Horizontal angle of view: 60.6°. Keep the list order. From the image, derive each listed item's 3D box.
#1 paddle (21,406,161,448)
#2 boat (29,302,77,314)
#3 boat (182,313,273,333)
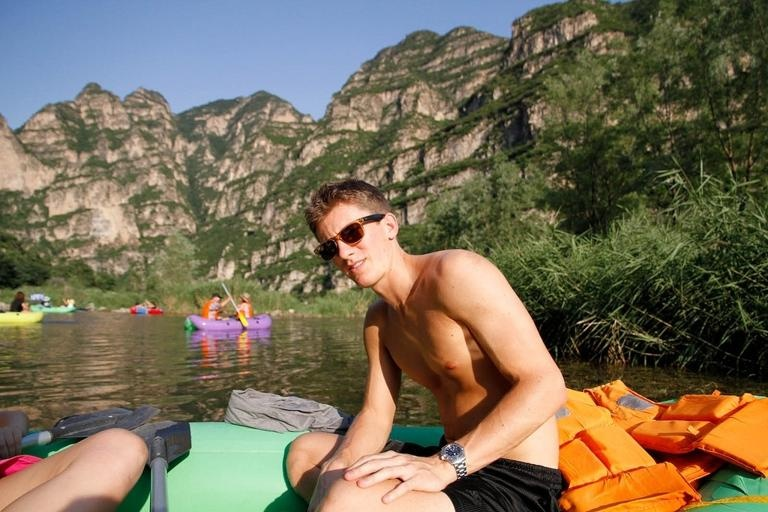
[{"bbox_3d":[-3.838,2.217,8.671,1.115,0.175,0.686,-16,12,-33],"label":"paddle"},{"bbox_3d":[-16.088,2.585,32.495,1.634,0.617,2.887,0,-11,-7],"label":"boat"},{"bbox_3d":[-5.081,2.252,21.648,2.170,0.572,1.055,2,-7,-31],"label":"boat"}]
